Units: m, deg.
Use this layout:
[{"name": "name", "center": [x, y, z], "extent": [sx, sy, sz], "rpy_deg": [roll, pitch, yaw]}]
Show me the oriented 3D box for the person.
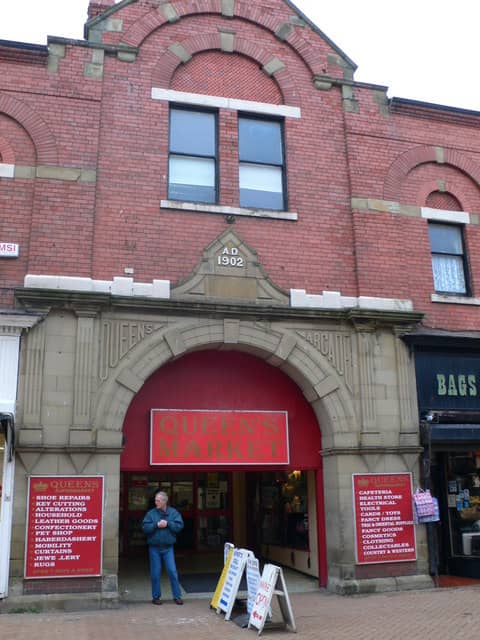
[{"name": "person", "center": [-1.111, 3.305, 8.578], "extent": [0.537, 1.552, 1.256], "rpy_deg": [-1, -14, -8]}]
